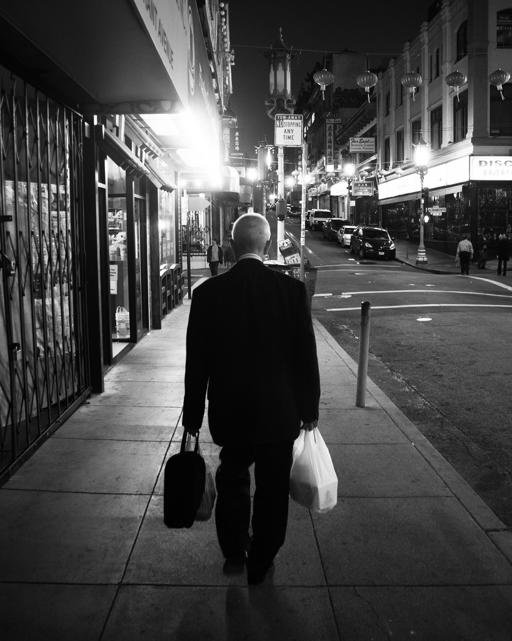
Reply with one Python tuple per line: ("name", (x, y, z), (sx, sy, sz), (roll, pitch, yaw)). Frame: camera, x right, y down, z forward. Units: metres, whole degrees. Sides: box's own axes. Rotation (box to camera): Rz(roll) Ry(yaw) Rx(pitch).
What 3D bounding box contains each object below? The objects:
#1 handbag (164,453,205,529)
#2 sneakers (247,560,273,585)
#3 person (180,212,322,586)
("handbag", (-0.343, 0.936, 2.858), (0.174, 0.326, 0.452), (1, 29, -5))
("sneakers", (0.027, 1.230, 2.964), (0.096, 0.166, 0.108), (3, -7, -4))
("person", (-0.024, 0.341, 2.984), (0.539, 2.123, 0.555), (1, 30, 0))
